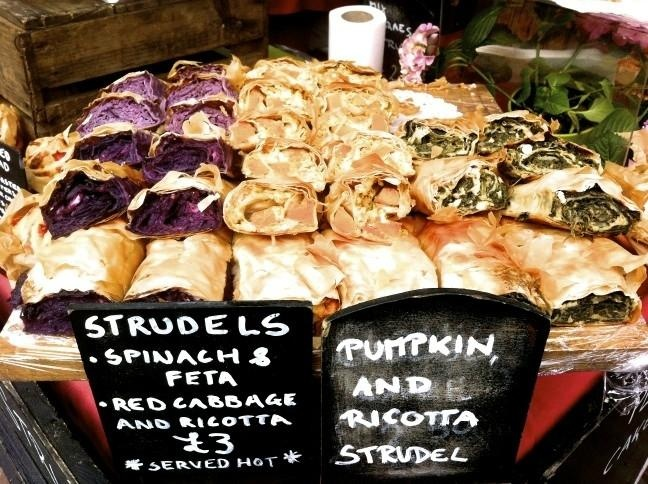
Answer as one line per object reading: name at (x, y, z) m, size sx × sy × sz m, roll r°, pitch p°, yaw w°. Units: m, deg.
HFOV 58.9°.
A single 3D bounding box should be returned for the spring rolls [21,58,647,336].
spring rolls at (0.042, -0.177, 1.502) m, size 1.597 × 0.370 × 0.952 m, roll -2°, pitch 37°, yaw -3°
